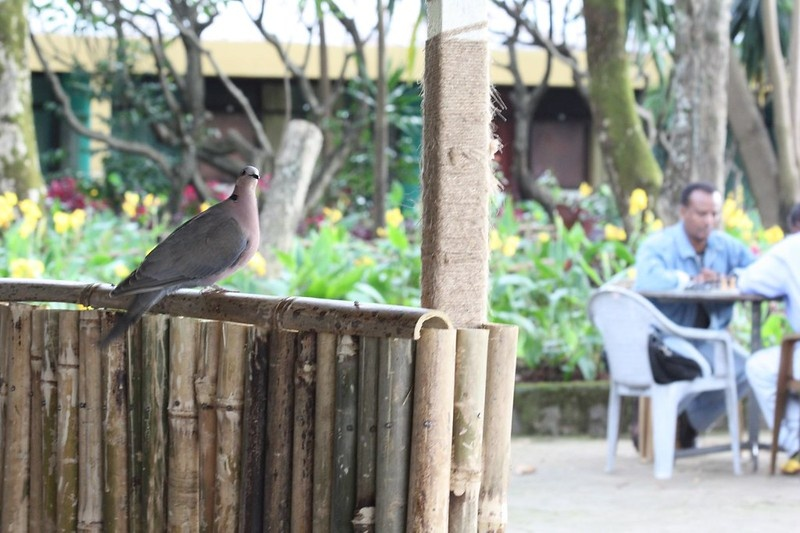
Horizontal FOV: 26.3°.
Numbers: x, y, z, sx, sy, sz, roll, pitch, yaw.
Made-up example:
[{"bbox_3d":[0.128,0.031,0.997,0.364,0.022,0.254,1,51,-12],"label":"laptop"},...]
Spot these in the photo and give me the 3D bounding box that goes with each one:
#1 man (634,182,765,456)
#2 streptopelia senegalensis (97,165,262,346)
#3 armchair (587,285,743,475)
[{"bbox_3d":[1.715,0.310,9.908,0.674,1.559,0.743,-1,13,-3],"label":"man"},{"bbox_3d":[-1.188,-0.086,9.210,1.133,0.691,0.411,-16,17,-20],"label":"streptopelia senegalensis"},{"bbox_3d":[1.527,0.661,9.924,0.745,1.076,0.741,1,-4,-29],"label":"armchair"}]
